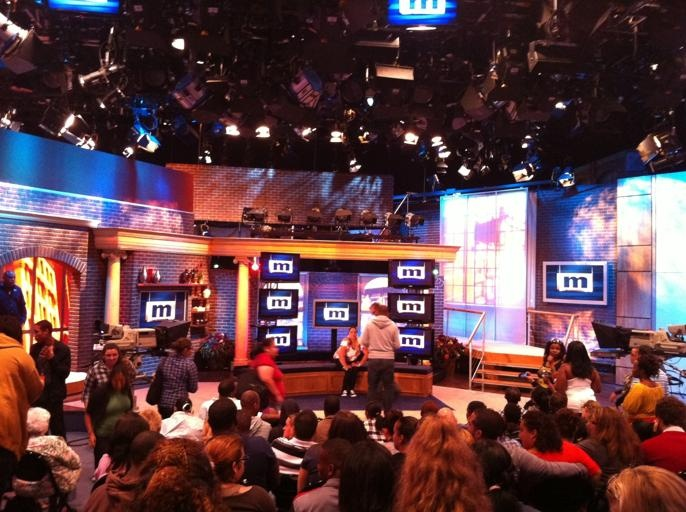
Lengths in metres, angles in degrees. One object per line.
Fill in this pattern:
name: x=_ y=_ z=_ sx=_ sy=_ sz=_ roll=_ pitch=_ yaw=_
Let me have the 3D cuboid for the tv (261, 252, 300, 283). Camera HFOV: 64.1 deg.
tv: x=-1.450 y=0.260 z=12.507 sx=0.702 sy=0.505 sz=0.095 roll=0 pitch=2 yaw=-10

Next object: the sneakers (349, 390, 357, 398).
sneakers: x=0.224 y=3.176 z=12.639 sx=0.095 sy=0.116 sz=0.277 roll=0 pitch=-18 yaw=-4

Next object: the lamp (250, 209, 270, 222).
lamp: x=-2.291 y=-1.106 z=15.007 sx=0.444 sy=0.314 sz=0.375 roll=3 pitch=-3 yaw=-31

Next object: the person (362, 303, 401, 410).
person: x=0.713 y=1.848 z=10.351 sx=0.683 sy=1.900 sz=0.558 roll=1 pitch=-5 yaw=24

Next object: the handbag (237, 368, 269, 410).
handbag: x=-1.332 y=2.062 z=8.444 sx=0.428 sy=0.566 sz=0.589 roll=-1 pitch=-4 yaw=45

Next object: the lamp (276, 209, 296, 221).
lamp: x=-1.634 y=-1.100 z=15.272 sx=0.499 sy=0.330 sz=0.342 roll=1 pitch=-9 yaw=-15

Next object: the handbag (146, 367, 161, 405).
handbag: x=-2.806 y=1.923 z=8.129 sx=0.188 sy=0.579 sz=0.266 roll=5 pitch=-5 yaw=-24

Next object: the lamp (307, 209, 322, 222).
lamp: x=-0.795 y=-1.125 z=15.391 sx=0.399 sy=0.387 sz=0.400 roll=0 pitch=-2 yaw=-2

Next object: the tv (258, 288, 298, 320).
tv: x=-1.504 y=1.077 z=12.465 sx=0.708 sy=0.486 sz=0.095 roll=3 pitch=-9 yaw=-19

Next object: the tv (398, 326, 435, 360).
tv: x=1.640 y=1.977 z=12.332 sx=0.937 sy=0.733 sz=0.127 roll=1 pitch=-1 yaw=9

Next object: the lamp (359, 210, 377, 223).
lamp: x=0.704 y=-1.164 z=15.711 sx=0.452 sy=0.216 sz=0.446 roll=1 pitch=-8 yaw=-9

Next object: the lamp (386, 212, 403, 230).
lamp: x=1.370 y=-1.077 z=15.554 sx=0.521 sy=0.265 sz=0.511 roll=4 pitch=-15 yaw=-19

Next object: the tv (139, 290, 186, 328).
tv: x=-4.383 y=1.275 z=13.505 sx=0.200 sy=0.891 sz=1.443 roll=0 pitch=-5 yaw=29

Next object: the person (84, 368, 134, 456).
person: x=-3.181 y=1.953 z=7.477 sx=0.682 sy=1.496 sz=0.419 roll=1 pitch=5 yaw=-21

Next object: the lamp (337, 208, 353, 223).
lamp: x=0.022 y=-1.197 z=15.860 sx=0.430 sy=0.468 sz=0.513 roll=2 pitch=-5 yaw=8

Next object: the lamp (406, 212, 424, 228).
lamp: x=2.013 y=-1.057 z=15.211 sx=0.448 sy=0.394 sz=0.447 roll=16 pitch=-11 yaw=-25
